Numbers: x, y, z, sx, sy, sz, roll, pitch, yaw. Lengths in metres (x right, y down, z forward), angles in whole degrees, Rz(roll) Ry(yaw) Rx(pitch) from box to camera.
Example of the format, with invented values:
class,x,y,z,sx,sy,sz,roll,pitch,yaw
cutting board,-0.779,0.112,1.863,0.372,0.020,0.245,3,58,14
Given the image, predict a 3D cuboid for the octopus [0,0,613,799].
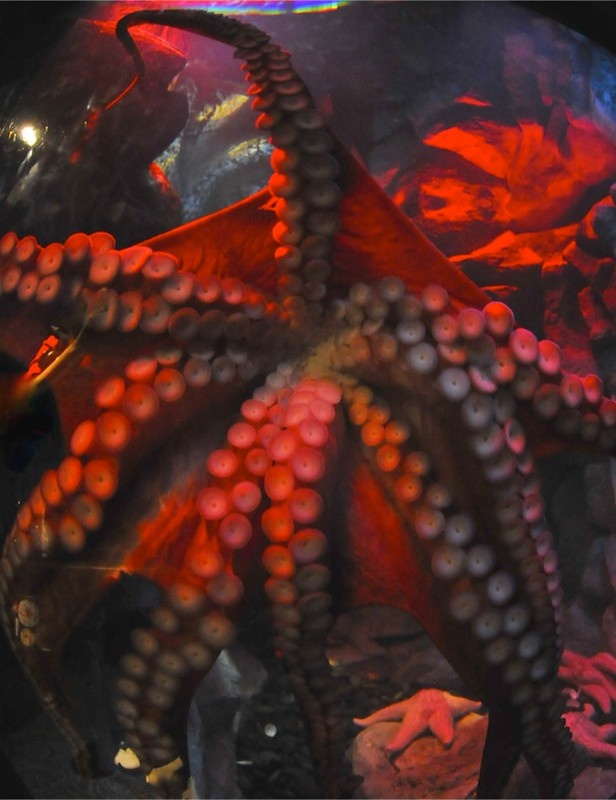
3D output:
class,x,y,z,sx,sy,sz,roll,pitch,yaw
octopus,0.018,0.076,2.379,1.598,1.502,0.505,-3,-8,-3
